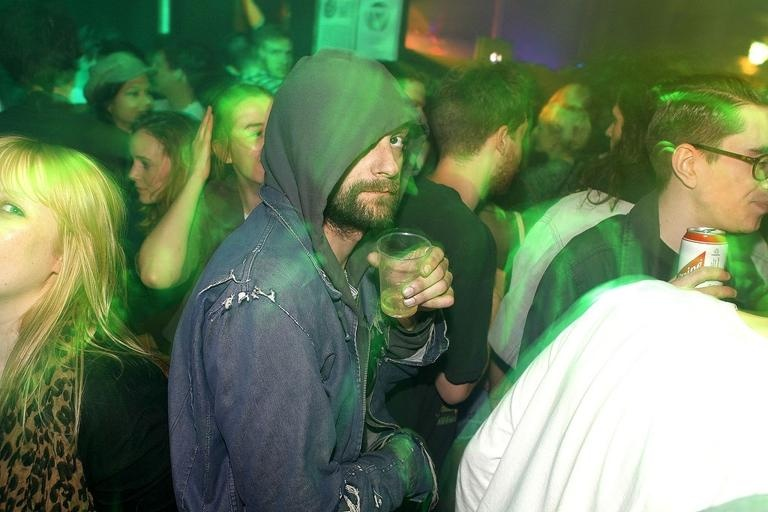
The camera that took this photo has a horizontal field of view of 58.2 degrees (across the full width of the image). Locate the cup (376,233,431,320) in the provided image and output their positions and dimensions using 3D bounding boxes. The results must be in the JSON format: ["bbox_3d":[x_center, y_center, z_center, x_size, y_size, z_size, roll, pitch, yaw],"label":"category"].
[{"bbox_3d":[0.072,0.140,3.513,0.278,0.450,0.338,11,27,7],"label":"cup"}]
